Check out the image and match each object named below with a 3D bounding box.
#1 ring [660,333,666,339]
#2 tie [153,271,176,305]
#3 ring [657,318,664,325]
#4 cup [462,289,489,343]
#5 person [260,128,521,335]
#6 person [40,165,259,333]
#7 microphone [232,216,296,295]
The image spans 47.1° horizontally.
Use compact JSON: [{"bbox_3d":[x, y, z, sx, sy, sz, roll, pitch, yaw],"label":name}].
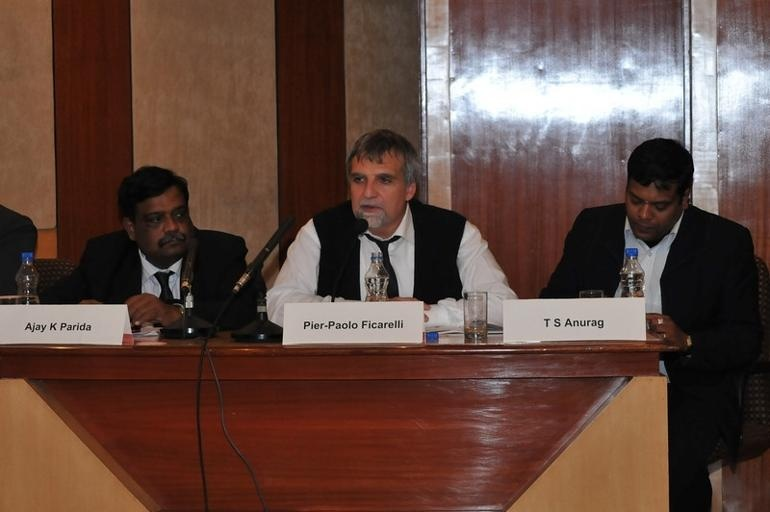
[{"bbox_3d":[1.269,0.359,4.033,0.027,0.021,0.027,0,-4,0],"label":"ring"},{"bbox_3d":[-1.084,0.149,4.326,0.080,0.158,0.135,-9,11,-42],"label":"tie"},{"bbox_3d":[1.274,0.297,4.071,0.025,0.026,0.006,1,-16,0],"label":"ring"},{"bbox_3d":[0.411,0.266,4.021,0.152,0.205,0.156,1,0,0],"label":"cup"},{"bbox_3d":[0.022,-0.183,4.680,1.286,0.972,0.745,-1,8,7],"label":"person"},{"bbox_3d":[-1.220,-0.039,4.752,0.844,0.627,1.102,0,-1,-18],"label":"person"},{"bbox_3d":[-0.703,-0.013,5.037,0.079,0.087,0.554,24,67,44],"label":"microphone"}]
